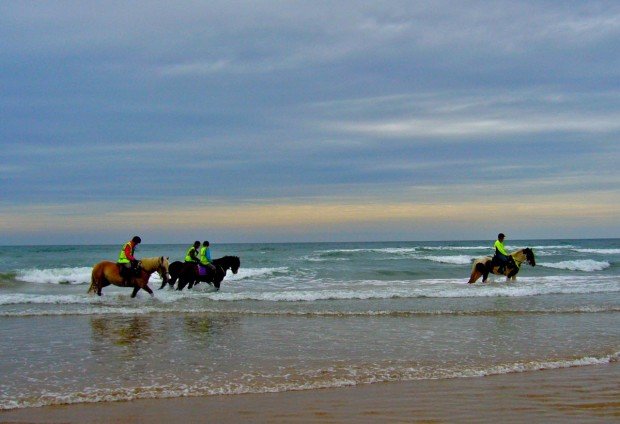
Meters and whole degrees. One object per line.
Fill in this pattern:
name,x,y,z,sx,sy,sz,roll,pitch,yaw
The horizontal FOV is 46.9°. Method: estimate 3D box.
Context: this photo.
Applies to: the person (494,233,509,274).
person,8.663,1.780,32.253,0.675,2.005,1.579,4,16,14
